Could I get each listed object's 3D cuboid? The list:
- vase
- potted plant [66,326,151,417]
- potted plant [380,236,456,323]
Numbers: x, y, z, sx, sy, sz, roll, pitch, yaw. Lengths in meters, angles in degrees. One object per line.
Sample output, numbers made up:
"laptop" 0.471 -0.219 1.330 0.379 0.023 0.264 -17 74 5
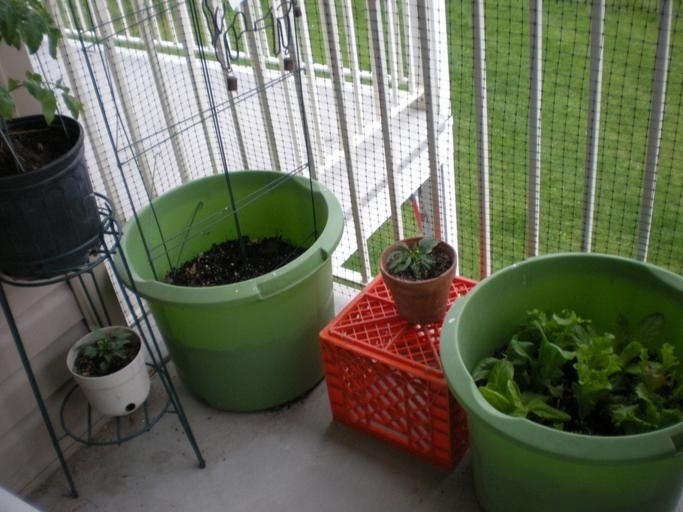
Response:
"vase" -0.324 0.138 2.359 0.902 0.738 0.901 -34 46 -25
"potted plant" -0.849 0.434 2.031 0.291 0.251 0.263 25 40 35
"potted plant" 0.270 0.097 2.014 0.275 0.234 0.293 15 45 32
